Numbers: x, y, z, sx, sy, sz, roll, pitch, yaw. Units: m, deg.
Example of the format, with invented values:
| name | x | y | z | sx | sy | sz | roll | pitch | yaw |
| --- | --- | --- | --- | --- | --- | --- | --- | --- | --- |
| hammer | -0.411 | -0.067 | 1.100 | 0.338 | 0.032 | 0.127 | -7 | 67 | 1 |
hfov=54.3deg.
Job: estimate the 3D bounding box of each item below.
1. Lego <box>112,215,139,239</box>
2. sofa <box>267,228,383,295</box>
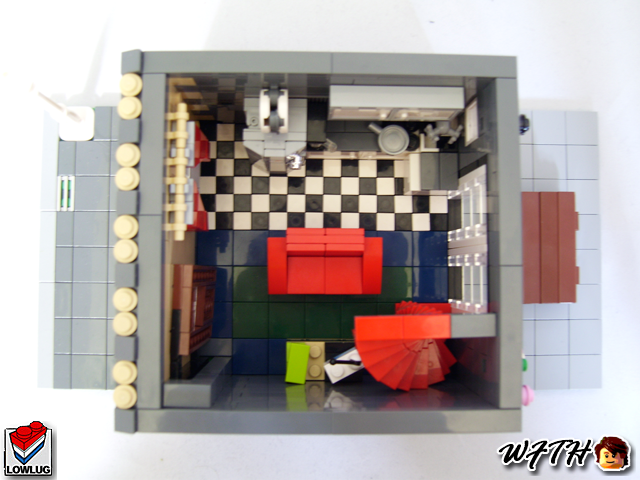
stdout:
| name | x | y | z | sx | sy | sz | roll | pitch | yaw |
| --- | --- | --- | --- | --- | --- | --- | --- | --- | --- |
| Lego | -1.117 | -0.068 | 3.602 | 0.136 | 0.143 | 0.059 | 11 | 19 | -16 |
| sofa | 0.020 | 0.145 | 4.189 | 0.870 | 0.393 | 0.354 | 0 | -2 | -2 |
